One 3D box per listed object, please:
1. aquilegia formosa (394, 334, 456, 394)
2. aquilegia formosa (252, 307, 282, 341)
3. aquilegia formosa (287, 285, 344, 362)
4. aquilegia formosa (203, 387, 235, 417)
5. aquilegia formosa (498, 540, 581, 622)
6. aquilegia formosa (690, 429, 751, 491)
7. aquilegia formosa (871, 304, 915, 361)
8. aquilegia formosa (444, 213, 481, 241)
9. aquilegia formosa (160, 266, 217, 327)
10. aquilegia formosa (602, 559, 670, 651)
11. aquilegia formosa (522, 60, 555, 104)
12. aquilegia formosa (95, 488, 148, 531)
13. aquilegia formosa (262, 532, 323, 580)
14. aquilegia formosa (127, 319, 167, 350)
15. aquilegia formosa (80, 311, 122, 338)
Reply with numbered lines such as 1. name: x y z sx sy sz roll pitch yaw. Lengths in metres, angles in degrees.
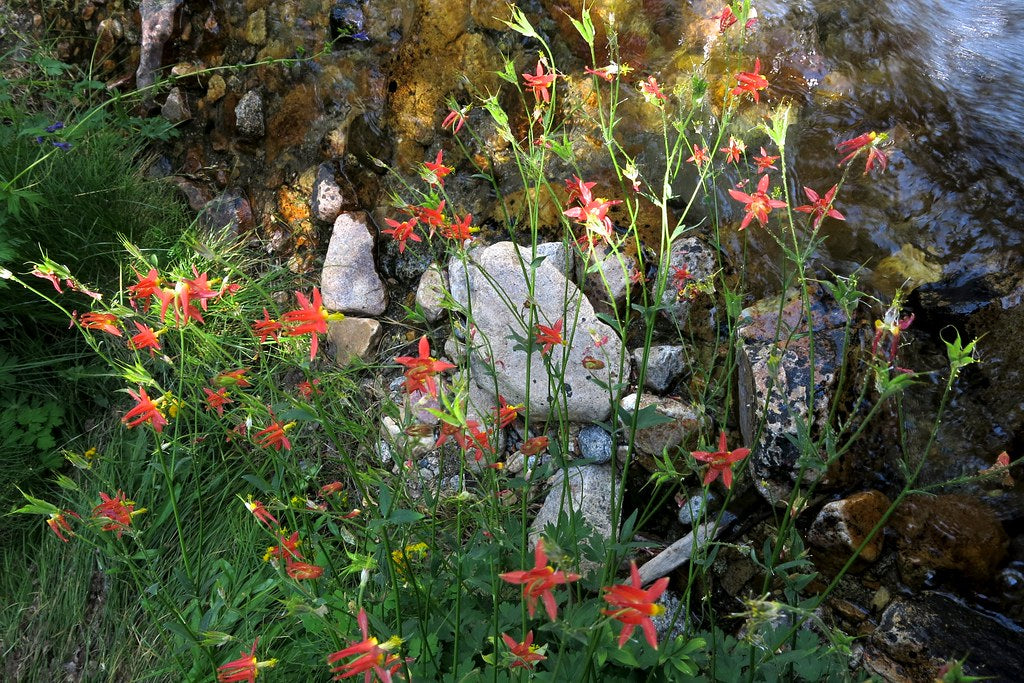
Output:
1. aquilegia formosa: -0.327 0.063 3.680 0.266 0.176 0.248 31 -3 -2
2. aquilegia formosa: -1.009 -0.061 3.835 0.113 0.120 0.310 14 2 -16
3. aquilegia formosa: -0.763 -0.128 3.675 0.193 0.198 0.218 5 28 31
4. aquilegia formosa: -1.404 0.283 4.449 0.076 0.158 0.152 -25 60 -33
5. aquilegia formosa: 0.109 0.902 3.477 0.250 0.309 0.263 15 2 22
6. aquilegia formosa: 0.831 0.477 3.782 0.123 0.261 0.258 46 -15 -16
7. aquilegia formosa: 1.551 -0.040 3.815 0.114 0.238 0.204 13 1 24
8. aquilegia formosa: -0.245 -0.534 4.323 0.144 0.122 0.415 15 2 -6
9. aquilegia formosa: -1.335 -0.182 3.833 0.226 0.215 0.241 14 2 -29
10. aquilegia formosa: 0.461 0.986 3.508 0.225 0.327 0.270 14 1 12
11. aquilegia formosa: 0.124 -1.159 4.166 0.122 0.174 0.255 14 2 0
12. aquilegia formosa: -1.649 0.701 3.992 0.186 0.151 0.255 -9 1 7
13. aquilegia formosa: -0.882 0.878 3.802 0.104 0.249 0.239 -12 -24 34
14. aquilegia formosa: -1.674 -0.037 4.263 0.100 0.103 0.085 -28 -17 -28
15. aquilegia formosa: -1.827 -0.081 4.141 0.125 0.059 0.109 13 -31 -13
